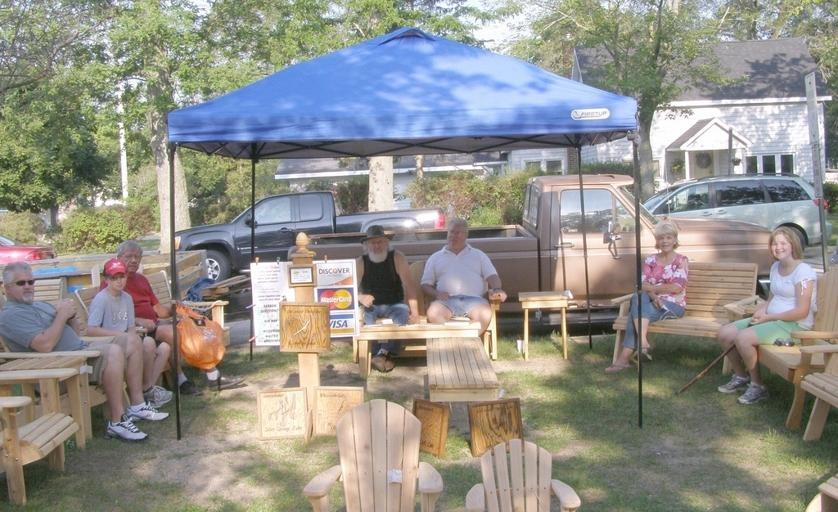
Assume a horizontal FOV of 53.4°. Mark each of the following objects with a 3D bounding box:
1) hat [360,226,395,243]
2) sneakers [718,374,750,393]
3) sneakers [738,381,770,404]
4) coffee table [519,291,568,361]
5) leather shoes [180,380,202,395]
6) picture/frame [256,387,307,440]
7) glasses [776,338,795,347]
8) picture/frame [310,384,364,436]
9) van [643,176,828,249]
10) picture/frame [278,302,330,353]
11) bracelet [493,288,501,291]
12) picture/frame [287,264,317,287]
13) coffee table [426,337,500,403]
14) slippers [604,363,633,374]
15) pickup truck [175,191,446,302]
[{"bbox_3d":[-0.725,-0.361,15.116,0.501,0.198,0.572,-4,-6,-1],"label":"hat"},{"bbox_3d":[4.930,2.029,13.120,0.569,0.255,0.208,-3,2,-1],"label":"sneakers"},{"bbox_3d":[5.149,2.124,12.761,0.569,0.274,0.216,-9,4,-12],"label":"sneakers"},{"bbox_3d":[2.204,1.212,14.605,1.064,1.257,1.088,-1,0,6],"label":"coffee table"},{"bbox_3d":[-3.657,2.164,13.454,0.353,0.157,0.164,1,2,8],"label":"leather shoes"},{"bbox_3d":[-2.010,2.366,12.305,0.764,0.731,0.080,-1,3,-1],"label":"picture/frame"},{"bbox_3d":[5.476,1.314,12.439,0.286,0.112,0.075,-1,3,-7],"label":"glasses"},{"bbox_3d":[-1.167,2.224,11.858,0.762,0.744,0.102,0,4,4],"label":"picture/frame"},{"bbox_3d":[8.328,-1.412,22.009,5.133,2.180,2.470,2,1,2],"label":"van"},{"bbox_3d":[-1.694,1.074,12.310,0.748,0.749,0.093,0,3,3],"label":"picture/frame"},{"bbox_3d":[1.343,0.592,14.227,0.054,0.040,0.053,-5,9,-41],"label":"bracelet"},{"bbox_3d":[-1.760,0.312,12.585,0.356,0.339,0.085,0,2,-1],"label":"picture/frame"},{"bbox_3d":[0.628,1.725,12.278,0.972,0.684,1.332,0,3,-1],"label":"coffee table"},{"bbox_3d":[3.310,1.887,13.828,0.374,0.091,0.172,-1,1,-14],"label":"slippers"},{"bbox_3d":[-2.421,-0.198,21.627,7.149,2.538,2.658,0,1,-6],"label":"pickup truck"}]
